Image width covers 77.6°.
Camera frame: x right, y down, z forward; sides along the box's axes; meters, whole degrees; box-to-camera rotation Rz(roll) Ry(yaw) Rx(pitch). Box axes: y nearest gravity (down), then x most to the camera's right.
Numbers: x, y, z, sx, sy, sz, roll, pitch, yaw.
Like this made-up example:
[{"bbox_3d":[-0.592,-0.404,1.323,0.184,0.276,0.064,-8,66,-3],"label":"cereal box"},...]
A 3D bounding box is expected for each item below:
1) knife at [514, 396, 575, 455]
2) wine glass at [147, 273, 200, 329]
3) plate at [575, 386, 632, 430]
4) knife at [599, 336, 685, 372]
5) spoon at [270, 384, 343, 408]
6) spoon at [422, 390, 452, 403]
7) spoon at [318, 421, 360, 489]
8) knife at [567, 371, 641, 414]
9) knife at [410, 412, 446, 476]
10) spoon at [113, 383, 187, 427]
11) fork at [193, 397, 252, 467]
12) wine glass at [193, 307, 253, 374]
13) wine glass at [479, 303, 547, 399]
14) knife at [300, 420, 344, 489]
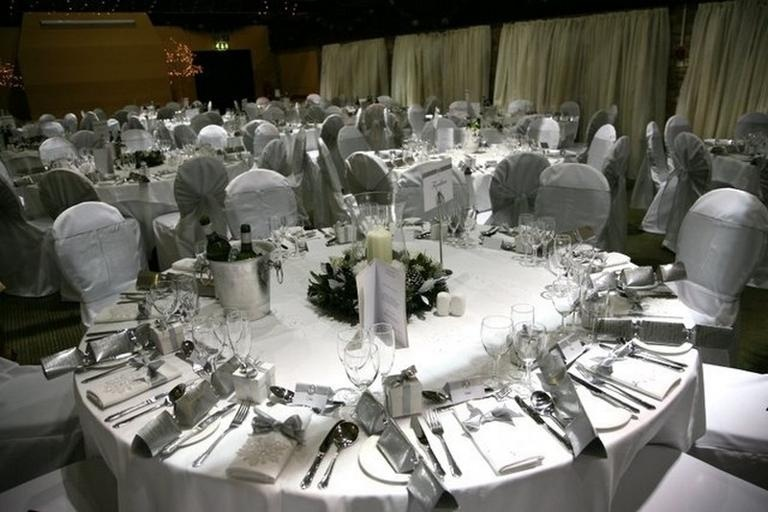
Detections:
[{"bbox_3d":[0.620,0.642,1.902,0.064,0.056,0.376,-24,39,-7],"label":"knife"},{"bbox_3d":[-1.055,0.219,2.433,0.191,0.277,0.280,2,11,0],"label":"wine glass"},{"bbox_3d":[0.858,0.615,1.898,0.219,0.073,0.153,13,24,36],"label":"plate"},{"bbox_3d":[1.184,0.434,2.135,0.251,0.020,0.176,10,26,33],"label":"knife"},{"bbox_3d":[-0.346,0.562,1.970,0.388,0.122,0.082,3,0,-13],"label":"spoon"},{"bbox_3d":[0.213,0.576,1.954,0.064,0.018,0.063,2,16,-2],"label":"spoon"},{"bbox_3d":[-0.174,0.731,1.732,0.071,0.049,0.327,9,25,12],"label":"spoon"},{"bbox_3d":[0.900,0.562,1.950,0.033,0.030,0.237,-31,47,-25],"label":"knife"},{"bbox_3d":[0.157,0.708,1.801,0.049,0.044,0.377,-13,34,-6],"label":"knife"},{"bbox_3d":[-0.966,0.619,1.965,0.055,0.038,0.312,41,36,27],"label":"spoon"},{"bbox_3d":[-0.636,0.696,1.866,0.034,0.038,0.268,12,50,23],"label":"fork"},{"bbox_3d":[-0.697,0.341,2.096,0.233,0.289,0.273,-3,16,-4],"label":"wine glass"},{"bbox_3d":[0.560,0.375,2.109,0.267,0.267,0.331,1,20,8],"label":"wine glass"},{"bbox_3d":[-0.216,0.682,1.867,0.048,0.049,0.443,27,35,-1],"label":"knife"}]
